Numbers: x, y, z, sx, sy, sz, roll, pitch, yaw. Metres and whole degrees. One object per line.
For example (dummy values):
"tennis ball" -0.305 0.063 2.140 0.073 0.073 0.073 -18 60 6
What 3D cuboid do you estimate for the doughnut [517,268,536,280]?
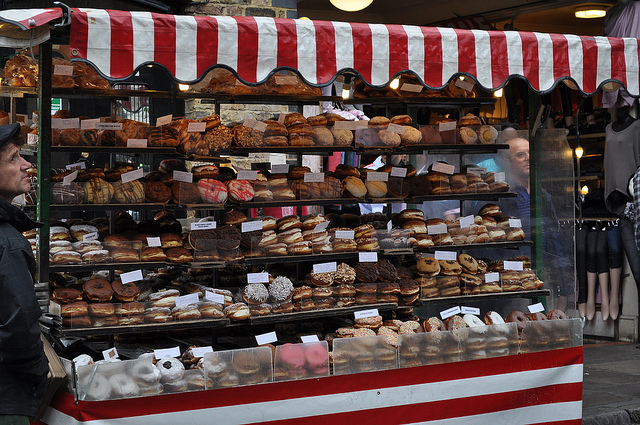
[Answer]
"doughnut" 2.271 0.662 7.790 0.130 0.071 0.127 1 -3 -36

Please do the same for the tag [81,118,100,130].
"tag" -2.073 -0.801 6.446 0.114 0.068 0.015 -5 3 -18

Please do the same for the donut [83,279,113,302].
"donut" -2.010 0.703 6.466 0.255 0.201 0.134 -6 5 -19

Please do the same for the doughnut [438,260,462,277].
"doughnut" 1.388 0.573 7.593 0.200 0.086 0.176 5 8 17

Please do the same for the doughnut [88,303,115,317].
"doughnut" -1.948 0.852 6.350 0.135 0.063 0.143 -2 -4 26

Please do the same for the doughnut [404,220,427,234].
"doughnut" 1.030 0.140 7.588 0.157 0.087 0.154 0 -7 27

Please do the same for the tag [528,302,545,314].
"tag" 2.342 1.016 7.619 0.205 0.115 0.105 -6 6 -25

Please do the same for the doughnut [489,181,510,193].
"doughnut" 1.998 -0.290 7.918 0.241 0.130 0.053 -5 5 -18

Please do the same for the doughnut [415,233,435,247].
"doughnut" 1.111 0.285 7.553 0.157 0.076 0.153 1 1 -19

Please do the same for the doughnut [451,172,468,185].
"doughnut" 1.531 -0.373 7.781 0.138 0.078 0.138 2 0 -15

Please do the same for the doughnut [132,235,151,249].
"doughnut" -1.669 0.270 6.670 0.138 0.122 0.095 -5 5 -14

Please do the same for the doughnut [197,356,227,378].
"doughnut" -0.940 1.333 6.220 0.206 0.059 0.182 14 26 12

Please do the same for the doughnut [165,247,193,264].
"doughnut" -1.336 0.400 6.713 0.171 0.083 0.167 4 -4 -32

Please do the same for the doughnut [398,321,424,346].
"doughnut" 0.898 1.159 7.045 0.179 0.043 0.173 -13 34 -25

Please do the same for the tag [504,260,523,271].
"tag" 2.107 0.571 7.755 0.172 0.102 0.038 3 0 -7

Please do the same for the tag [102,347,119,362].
"tag" -1.874 1.263 6.350 0.120 0.096 0.085 -25 -6 22

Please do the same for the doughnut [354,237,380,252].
"doughnut" 0.497 0.319 7.295 0.164 0.092 0.158 1 -5 -15

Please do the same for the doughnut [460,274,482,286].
"doughnut" 1.619 0.708 7.604 0.149 0.066 0.145 6 2 17

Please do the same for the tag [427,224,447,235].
"tag" 1.253 0.172 7.608 0.211 0.101 0.040 0 -1 -9

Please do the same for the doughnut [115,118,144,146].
"doughnut" -1.743 -0.751 6.533 0.258 0.186 0.097 11 -27 -13

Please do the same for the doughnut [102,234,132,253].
"doughnut" -1.871 0.283 6.573 0.179 0.083 0.175 2 6 -34

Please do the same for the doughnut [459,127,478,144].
"doughnut" 1.622 -0.835 7.710 0.214 0.183 0.066 -6 5 -20

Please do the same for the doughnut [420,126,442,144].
"doughnut" 1.189 -0.822 7.554 0.262 0.187 0.055 -6 5 -23

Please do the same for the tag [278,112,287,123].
"tag" -0.383 -0.959 7.245 0.085 0.086 0.024 9 -5 38

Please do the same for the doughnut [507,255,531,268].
"doughnut" 2.250 0.540 7.937 0.163 0.090 0.158 -1 -4 19

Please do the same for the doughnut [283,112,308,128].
"doughnut" -0.251 -0.916 7.157 0.165 0.092 0.161 1 -5 -28

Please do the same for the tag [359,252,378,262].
"tag" 0.491 0.443 7.232 0.171 0.090 0.038 1 -3 -10

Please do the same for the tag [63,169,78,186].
"tag" -2.258 -0.314 6.467 0.020 0.094 0.140 28 37 24

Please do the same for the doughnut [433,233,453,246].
"doughnut" 1.318 0.284 7.637 0.132 0.049 0.155 6 9 39

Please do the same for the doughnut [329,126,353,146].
"doughnut" 0.235 -0.773 7.258 0.211 0.186 0.073 -2 -8 -19

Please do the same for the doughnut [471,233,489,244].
"doughnut" 1.758 0.280 7.734 0.130 0.044 0.126 -9 0 2

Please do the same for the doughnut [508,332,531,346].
"doughnut" 2.002 1.263 7.119 0.161 0.051 0.162 -1 4 2

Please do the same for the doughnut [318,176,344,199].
"doughnut" 0.125 -0.257 7.288 0.293 0.223 0.080 -9 7 -42

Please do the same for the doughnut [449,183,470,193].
"doughnut" 1.537 -0.274 7.777 0.224 0.116 0.062 -5 5 -18

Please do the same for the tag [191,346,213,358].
"tag" -1.067 1.262 6.489 0.209 0.073 0.120 -2 6 17

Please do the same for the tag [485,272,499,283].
"tag" 1.849 0.692 7.664 0.119 0.078 0.016 -1 5 -15

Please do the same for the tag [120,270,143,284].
"tag" -1.723 0.588 6.530 0.181 0.126 0.137 -5 5 -18

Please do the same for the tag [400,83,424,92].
"tag" 0.974 -1.328 7.555 0.187 0.041 0.126 4 -1 -2

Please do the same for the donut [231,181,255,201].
"donut" -0.746 -0.229 6.943 0.192 0.188 0.067 -33 -3 -43

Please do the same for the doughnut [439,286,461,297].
"doughnut" 1.379 0.824 7.533 0.136 0.059 0.117 -4 2 39

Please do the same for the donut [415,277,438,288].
"donut" 1.138 0.720 7.477 0.119 0.055 0.137 -3 1 -34
